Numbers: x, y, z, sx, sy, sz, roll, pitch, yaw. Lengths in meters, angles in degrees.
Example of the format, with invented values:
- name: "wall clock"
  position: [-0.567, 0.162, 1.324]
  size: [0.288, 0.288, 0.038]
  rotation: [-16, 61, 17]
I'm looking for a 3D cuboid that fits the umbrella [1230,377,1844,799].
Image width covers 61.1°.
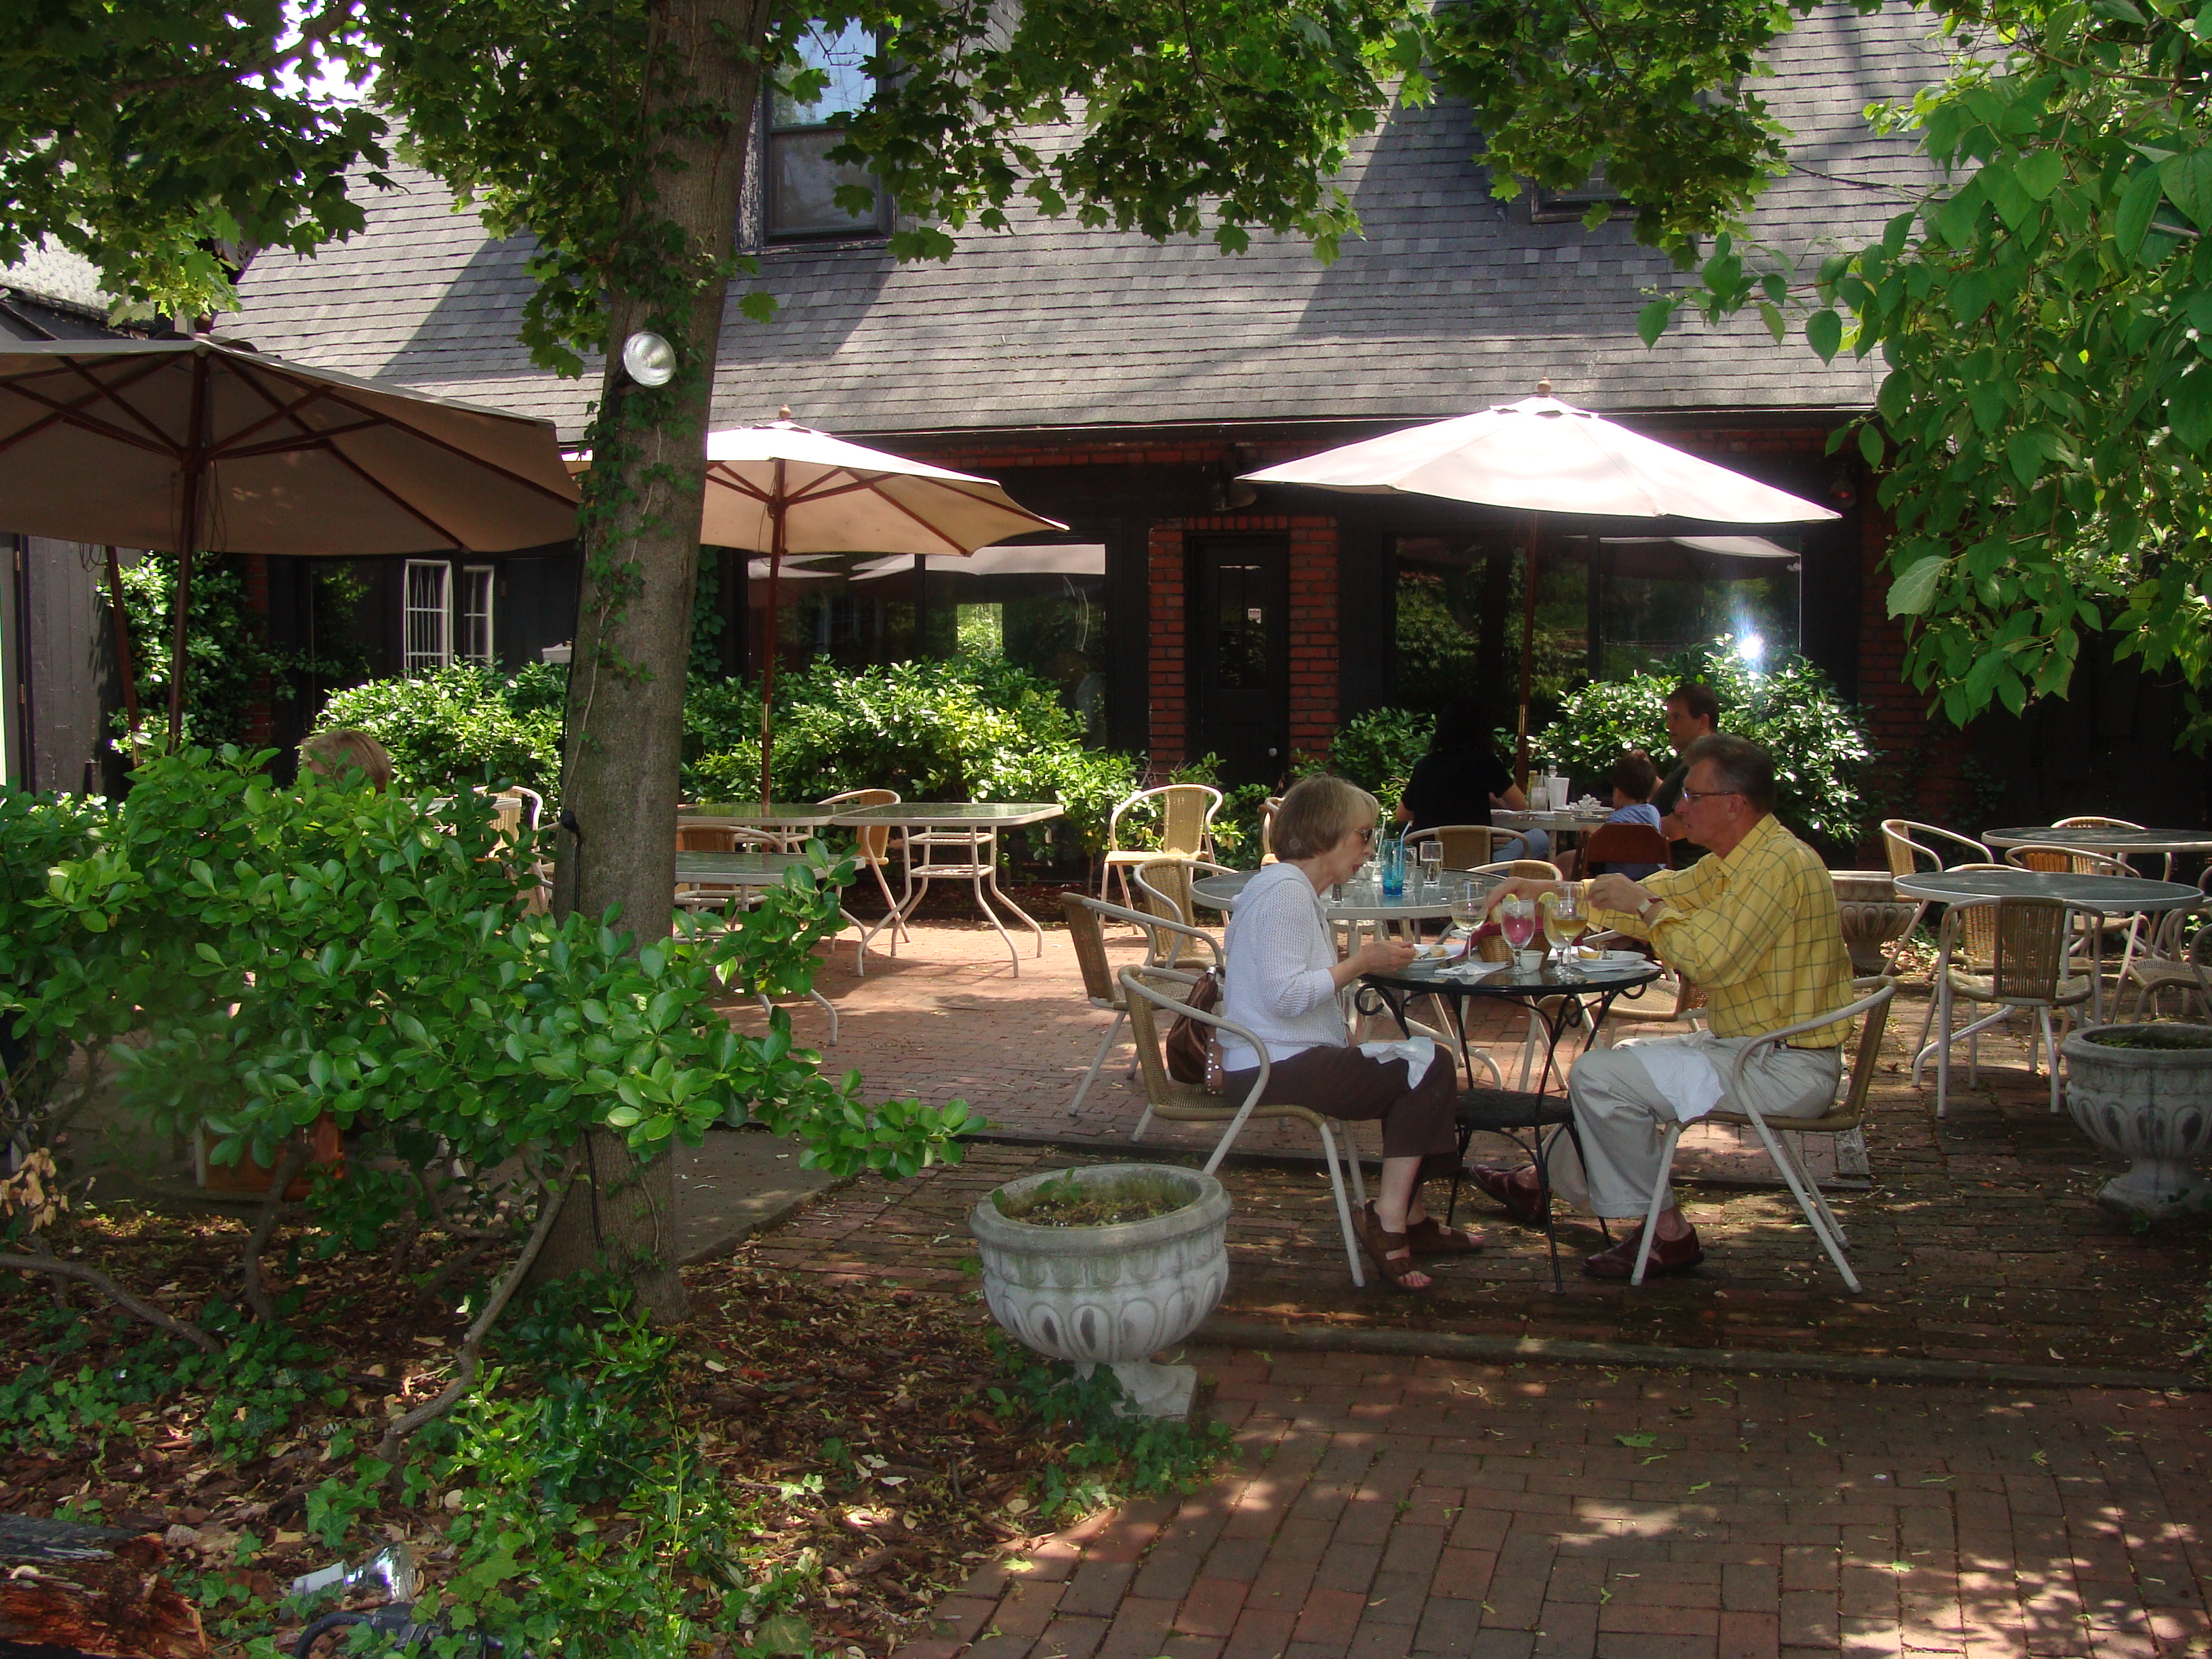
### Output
- name: "umbrella"
  position: [1.948, -1.188, 9.497]
  size: [2.103, 1.247, 2.012]
  rotation: [-4, 8, -41]

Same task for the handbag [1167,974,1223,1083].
- name: "handbag"
  position: [0.299, 0.684, 6.342]
  size: [0.169, 0.304, 0.304]
  rotation: [7, 19, -3]

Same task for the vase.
- name: "vase"
  position: [-0.008, 1.190, 5.107]
  size: [0.729, 0.504, 0.676]
  rotation: [-2, -2, -3]

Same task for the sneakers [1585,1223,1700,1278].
- name: "sneakers"
  position: [1.784, 1.392, 6.214]
  size: [0.383, 0.141, 0.169]
  rotation: [0, -2, -11]

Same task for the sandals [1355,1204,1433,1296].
- name: "sandals"
  position: [0.918, 1.380, 6.070]
  size: [0.135, 0.127, 0.340]
  rotation: [-1, 7, -16]

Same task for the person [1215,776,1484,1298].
- name: "person"
  position: [0.786, 0.656, 6.109]
  size: [0.860, 1.624, 0.512]
  rotation: [1, 8, 3]

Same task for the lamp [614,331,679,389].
- name: "lamp"
  position: [-1.290, -1.289, 5.196]
  size: [0.156, 0.153, 0.084]
  rotation: [43, -16, -12]

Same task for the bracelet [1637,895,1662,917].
- name: "bracelet"
  position: [1.907, 0.272, 6.608]
  size: [0.065, 0.037, 0.055]
  rotation: [-6, -22, -19]
